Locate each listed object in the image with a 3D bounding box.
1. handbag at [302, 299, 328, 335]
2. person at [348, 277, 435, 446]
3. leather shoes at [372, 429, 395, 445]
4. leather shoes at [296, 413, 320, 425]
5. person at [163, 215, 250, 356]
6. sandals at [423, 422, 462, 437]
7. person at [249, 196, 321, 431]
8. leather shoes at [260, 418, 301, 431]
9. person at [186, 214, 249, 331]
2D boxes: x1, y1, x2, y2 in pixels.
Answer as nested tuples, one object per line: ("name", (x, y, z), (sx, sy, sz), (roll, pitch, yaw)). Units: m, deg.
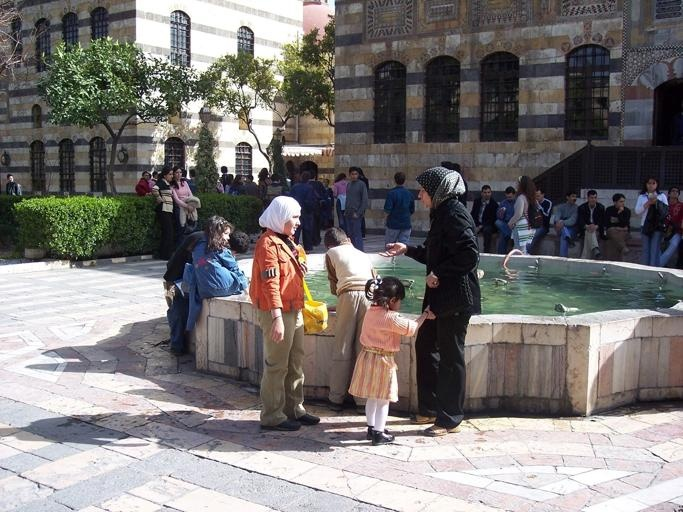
("handbag", (-0.263, 0.639, 7.605), (0.328, 0.347, 0.225), (0, 1, 34))
("person", (0.377, 0.978, 6.857), (0.529, 1.463, 0.663), (6, 15, 27))
("leather shoes", (0.389, 1.704, 6.779), (0.192, 0.088, 0.111), (-6, 9, -42))
("leather shoes", (-0.341, 1.643, 7.237), (0.256, 0.106, 0.097), (0, 9, 3))
("person", (-1.691, 0.350, 8.953), (1.091, 1.633, 0.742), (11, 3, 1))
("sandals", (0.984, 1.688, 7.001), (0.322, 0.093, 0.131), (6, -11, -15))
("person", (-0.605, 0.557, 7.267), (0.608, 2.230, 0.900), (2, 8, 12))
("leather shoes", (-0.614, 1.636, 7.032), (0.356, 0.157, 0.139), (-4, 0, 3))
("person", (-1.543, 0.190, 8.986), (1.026, 1.417, 0.746), (-9, 19, -44))
